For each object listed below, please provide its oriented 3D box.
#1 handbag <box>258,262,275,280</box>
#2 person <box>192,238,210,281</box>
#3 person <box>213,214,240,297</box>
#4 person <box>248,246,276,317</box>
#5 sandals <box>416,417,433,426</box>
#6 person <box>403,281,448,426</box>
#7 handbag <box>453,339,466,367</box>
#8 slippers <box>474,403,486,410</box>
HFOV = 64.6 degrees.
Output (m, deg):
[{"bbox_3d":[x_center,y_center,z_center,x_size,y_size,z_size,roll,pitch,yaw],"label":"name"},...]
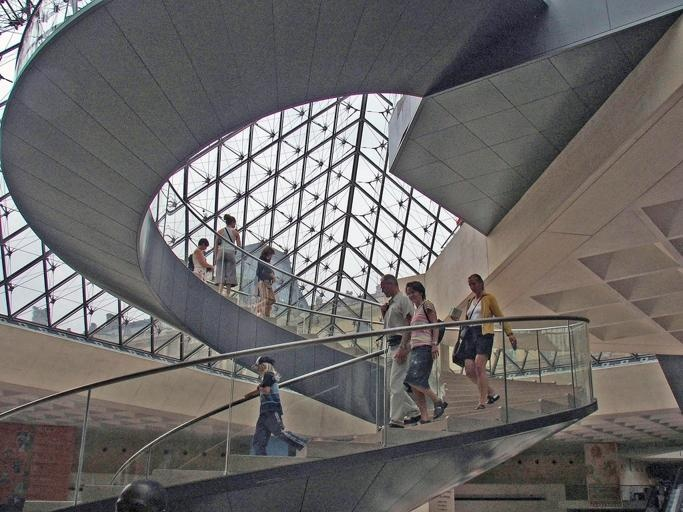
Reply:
[{"bbox_3d":[-2.405,0.506,17.125,0.475,0.906,0.641,3,-6,-16],"label":"handbag"},{"bbox_3d":[-4.039,0.078,15.577,0.472,1.107,0.944,0,11,10],"label":"person"},{"bbox_3d":[-3.437,0.060,16.094,0.731,1.983,1.291,-3,11,-7],"label":"person"},{"bbox_3d":[-2.411,1.006,16.878,0.581,1.730,1.167,-2,11,-2],"label":"person"},{"bbox_3d":[1.409,2.788,9.087,0.266,0.109,0.100,0,-5,5],"label":"sandals"},{"bbox_3d":[1.460,1.786,9.503,1.042,2.399,0.826,14,-41,-5],"label":"person"},{"bbox_3d":[2.154,1.794,9.894,0.197,0.381,0.308,9,-32,-2],"label":"handbag"},{"bbox_3d":[2.475,2.682,9.648,0.181,0.075,0.074,-2,-20,-5],"label":"slippers"}]
